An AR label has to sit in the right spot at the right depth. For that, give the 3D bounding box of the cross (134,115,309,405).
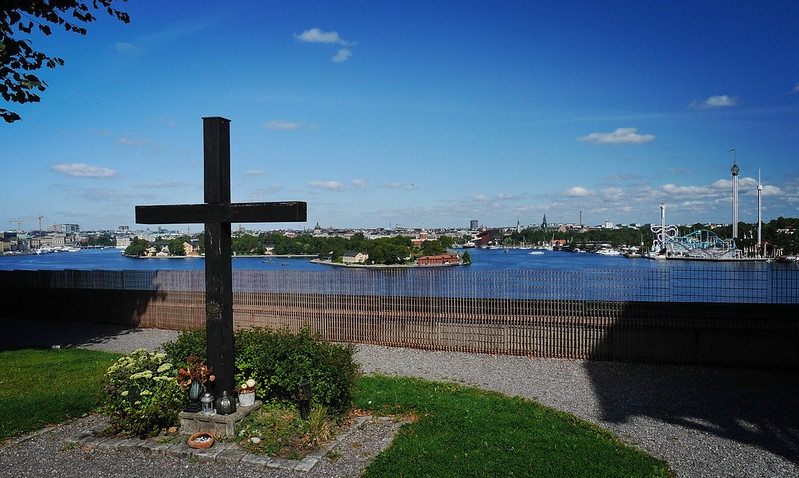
[{"bbox_3d":[-3.386,0.415,11.033,2.816,5.446,1.412,11,15,32],"label":"cross"}]

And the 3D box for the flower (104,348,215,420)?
[{"bbox_3d":[-4.668,2.676,10.823,1.527,0.925,1.498,4,-3,-36],"label":"flower"}]
